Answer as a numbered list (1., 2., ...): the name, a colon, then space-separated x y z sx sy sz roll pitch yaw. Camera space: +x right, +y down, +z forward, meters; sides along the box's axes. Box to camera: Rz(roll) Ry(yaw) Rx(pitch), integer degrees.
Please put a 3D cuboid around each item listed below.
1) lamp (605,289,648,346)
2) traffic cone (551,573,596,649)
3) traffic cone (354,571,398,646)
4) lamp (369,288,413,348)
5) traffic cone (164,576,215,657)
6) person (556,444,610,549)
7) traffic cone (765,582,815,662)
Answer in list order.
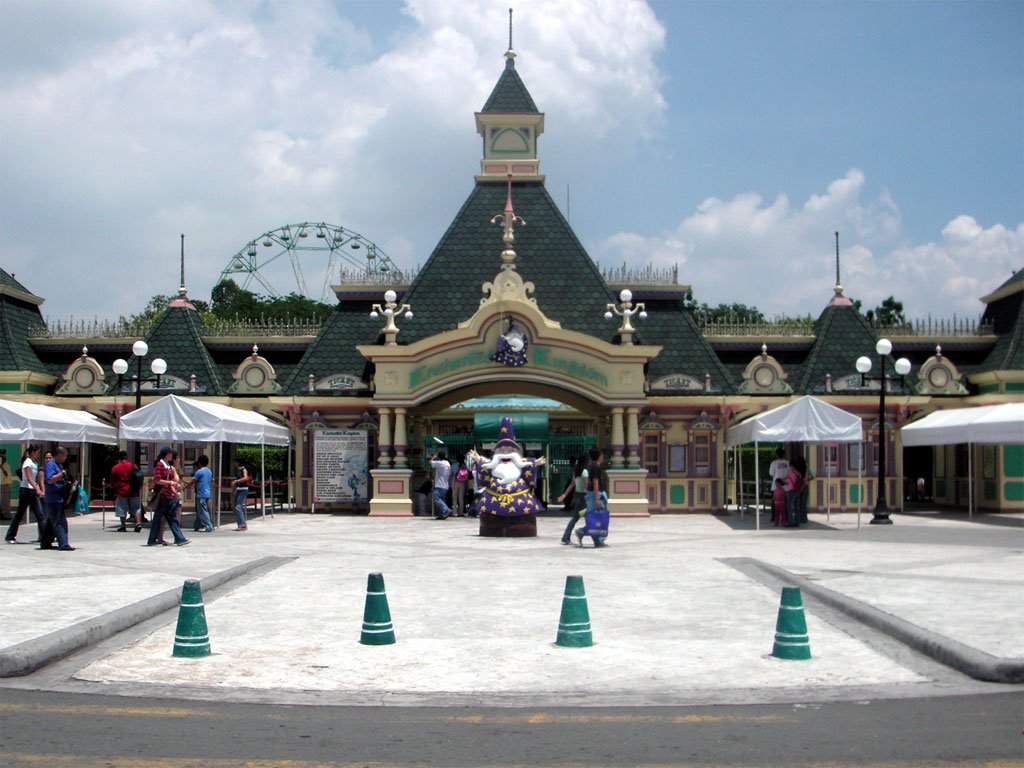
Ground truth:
1. lamp: 3.327 -1.983 43.950 1.273 1.557 0.532 0 -8 1
2. traffic cone: 0.878 3.149 21.076 0.537 0.982 0.860 0 -6 2
3. traffic cone: -1.869 3.135 21.168 0.496 0.985 0.716 1 -6 -6
4. lamp: -3.573 -1.931 44.420 1.281 1.585 1.345 1 -4 4
5. traffic cone: -4.346 3.172 20.517 0.536 1.013 0.894 2 -6 -12
6. person: 1.583 2.479 32.353 1.010 2.367 1.006 -1 -1 26
7. traffic cone: 3.758 3.218 20.502 0.884 0.844 0.850 2 -1 -3
